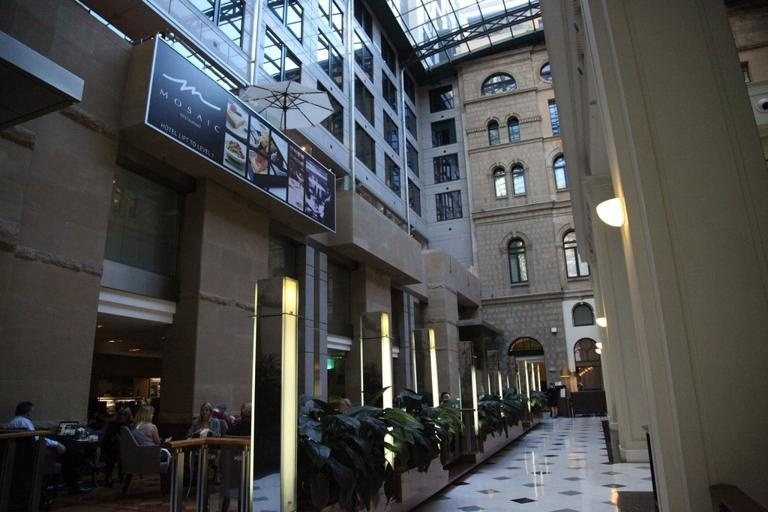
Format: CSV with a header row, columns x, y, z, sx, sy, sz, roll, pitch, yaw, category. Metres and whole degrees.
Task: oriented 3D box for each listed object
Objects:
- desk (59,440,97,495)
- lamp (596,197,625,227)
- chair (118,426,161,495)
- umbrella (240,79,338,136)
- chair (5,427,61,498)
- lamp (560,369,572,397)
x,y,z,sx,sy,sz,roll,pitch,yaw,category
-4.177,2.894,7.780,0.436,0.730,0.461,0,-8,9,desk
2.197,-0.448,5.526,0.184,0.301,0.548,-3,-11,18,lamp
-2.956,2.539,7.062,0.597,0.760,0.605,-5,-13,20,chair
-1.999,-3.182,12.238,1.269,0.934,2.280,-2,-11,17,umbrella
-3.869,2.273,6.150,0.251,0.776,0.561,8,-13,-33,chair
7.116,4.876,21.864,0.463,0.966,1.195,-3,-11,19,lamp
